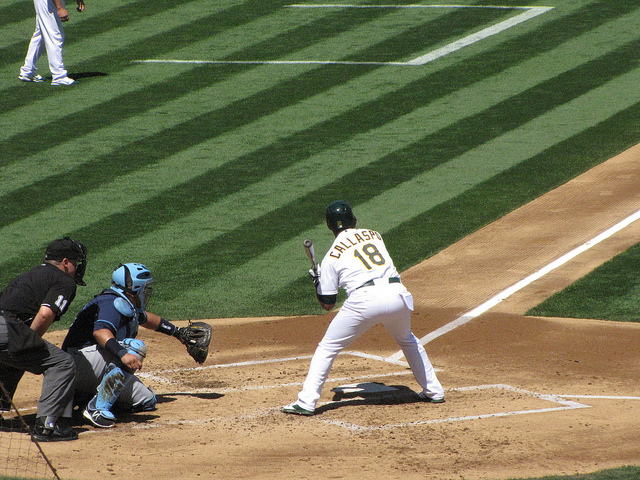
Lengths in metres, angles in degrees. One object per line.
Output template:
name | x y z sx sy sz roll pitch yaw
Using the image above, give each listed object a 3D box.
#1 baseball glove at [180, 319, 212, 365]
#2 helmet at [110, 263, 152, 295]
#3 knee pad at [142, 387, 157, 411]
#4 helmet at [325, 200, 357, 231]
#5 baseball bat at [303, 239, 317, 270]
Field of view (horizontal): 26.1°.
baseball glove | -1.513 1.329 17.507 0.372 0.577 0.322 -4 15 36
helmet | -2.329 0.453 17.248 0.503 0.381 0.348 -16 23 -20
knee pad | -2.092 2.002 17.258 0.126 0.226 0.265 -8 11 26
helmet | 0.228 -0.319 17.329 0.335 0.334 0.394 -13 19 7
baseball bat | -0.119 0.224 17.296 0.097 0.518 0.115 8 60 15
